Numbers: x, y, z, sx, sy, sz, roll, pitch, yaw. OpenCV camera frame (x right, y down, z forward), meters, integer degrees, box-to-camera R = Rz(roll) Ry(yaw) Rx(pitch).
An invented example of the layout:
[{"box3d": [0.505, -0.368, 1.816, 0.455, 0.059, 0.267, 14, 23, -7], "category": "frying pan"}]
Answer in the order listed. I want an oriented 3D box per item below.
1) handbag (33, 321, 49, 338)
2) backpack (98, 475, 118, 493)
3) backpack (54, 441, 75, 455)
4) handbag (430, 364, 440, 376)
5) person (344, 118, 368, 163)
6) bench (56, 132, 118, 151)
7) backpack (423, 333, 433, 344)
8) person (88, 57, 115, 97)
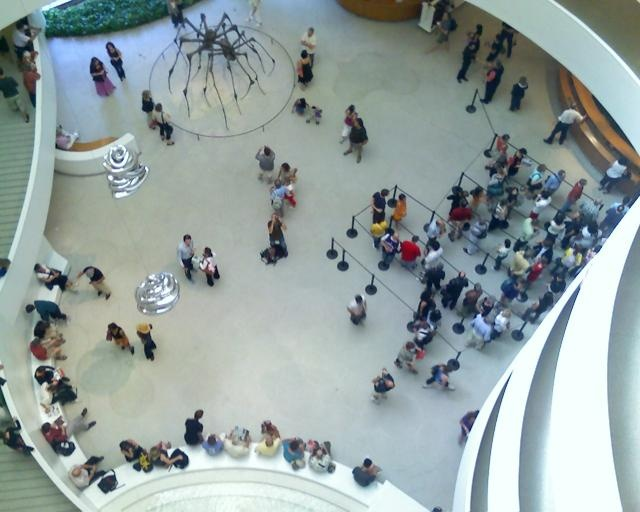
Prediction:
[{"box3d": [-6.219, 1.645, 12.698, 0.264, 0.171, 0.441, 2, 85, 34], "category": "handbag"}, {"box3d": [-4.237, 4.550, 11.339, 0.370, 0.138, 0.302, -20, 56, -20], "category": "backpack"}, {"box3d": [-5.250, 3.962, 11.689, 0.307, 0.119, 0.294, 8, 83, -28], "category": "backpack"}, {"box3d": [2.487, 2.487, 12.338, 0.209, 0.309, 0.183, -16, 63, -4], "category": "handbag"}, {"box3d": [0.984, -3.264, 15.637, 0.562, 1.319, 0.680, 7, 46, 2], "category": "person"}, {"box3d": [-6.575, -3.162, 15.905, 1.088, 0.488, 0.390, -12, 70, -14], "category": "bench"}, {"box3d": [2.368, 1.818, 12.589, 0.224, 0.231, 0.148, -30, 75, 0], "category": "backpack"}, {"box3d": [-6.490, -5.296, 16.895, 0.517, 1.244, 0.404, -38, 67, -24], "category": "person"}]
